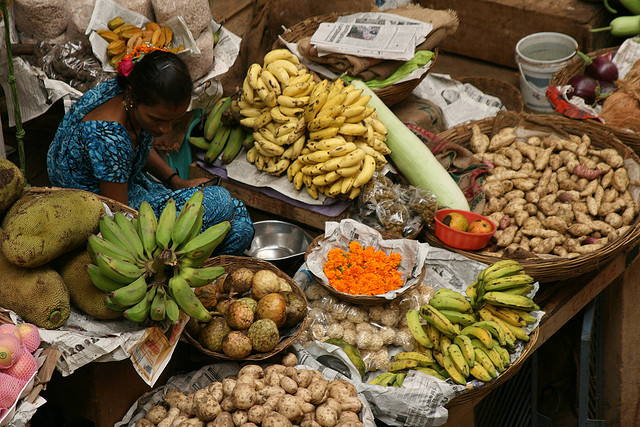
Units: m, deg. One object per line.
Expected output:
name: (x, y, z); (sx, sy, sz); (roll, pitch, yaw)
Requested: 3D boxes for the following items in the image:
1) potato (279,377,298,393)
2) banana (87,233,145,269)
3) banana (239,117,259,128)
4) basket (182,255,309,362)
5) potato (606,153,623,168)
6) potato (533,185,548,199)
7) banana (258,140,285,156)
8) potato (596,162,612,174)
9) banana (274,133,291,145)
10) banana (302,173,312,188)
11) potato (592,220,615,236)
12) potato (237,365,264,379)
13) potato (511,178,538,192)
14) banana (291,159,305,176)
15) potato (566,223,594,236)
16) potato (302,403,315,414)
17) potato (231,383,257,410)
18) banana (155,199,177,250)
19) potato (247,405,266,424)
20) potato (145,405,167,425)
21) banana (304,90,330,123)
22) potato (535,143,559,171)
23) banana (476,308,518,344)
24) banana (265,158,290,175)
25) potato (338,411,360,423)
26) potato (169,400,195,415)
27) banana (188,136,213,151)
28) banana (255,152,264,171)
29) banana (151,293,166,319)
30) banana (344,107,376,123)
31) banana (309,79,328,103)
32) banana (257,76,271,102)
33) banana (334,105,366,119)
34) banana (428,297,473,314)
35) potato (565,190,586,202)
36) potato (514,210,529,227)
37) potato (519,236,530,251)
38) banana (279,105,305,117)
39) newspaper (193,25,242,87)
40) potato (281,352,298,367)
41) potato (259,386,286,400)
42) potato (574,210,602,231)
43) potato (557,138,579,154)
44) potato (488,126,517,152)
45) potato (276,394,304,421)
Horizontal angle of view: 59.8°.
potato: (-0.177, 0.965, 3.123); (0.091, 0.057, 0.053); (29, 95, 12)
banana: (-1.072, 0.203, 2.932); (0.196, 0.056, 0.073); (34, 32, -20)
banana: (-0.568, -0.713, 4.462); (0.162, 0.060, 0.058); (-8, 40, 21)
basket: (-0.420, 0.440, 3.366); (0.611, 0.643, 0.193); (21, 92, 13)
potato: (2.309, -0.413, 4.375); (0.078, 0.064, 0.113); (-15, 49, -17)
potato: (1.741, -0.170, 4.376); (0.092, 0.052, 0.095); (30, 90, 15)
banana: (-0.381, -0.502, 4.336); (0.171, 0.104, 0.064); (15, 13, 7)
potato: (2.226, -0.359, 4.366); (0.077, 0.026, 0.085); (-9, 44, 2)
banana: (-0.291, -0.565, 4.283); (0.066, 0.108, 0.037); (62, 24, 3)
banana: (-0.089, -0.254, 4.265); (0.039, 0.045, 0.144); (-10, 49, -2)
potato: (2.085, 0.104, 4.101); (0.148, 0.056, 0.074); (33, 16, 34)
potato: (-0.395, 0.914, 3.236); (0.095, 0.081, 0.063); (-3, 86, 12)
potato: (1.609, -0.223, 4.410); (0.154, 0.061, 0.082); (20, 9, 12)
banana: (-0.181, -0.347, 4.351); (0.048, 0.167, 0.053); (36, 19, 0)
potato: (1.905, 0.122, 4.074); (0.137, 0.053, 0.082); (6, 84, 23)
potato: (-0.067, 1.078, 3.072); (0.040, 0.055, 0.034); (-12, 71, 37)
potato: (-0.415, 0.999, 3.032); (0.120, 0.069, 0.134); (7, 79, -17)
banana: (-0.837, 0.066, 3.085); (0.078, 0.093, 0.283); (15, 67, -4)
potato: (-0.342, 1.086, 3.011); (0.068, 0.093, 0.079); (-7, 91, -9)
potato: (-0.935, 1.152, 3.183); (0.083, 0.052, 0.109); (34, 72, 11)
banana: (-0.033, -0.796, 4.229); (0.094, 0.098, 0.306); (36, 87, 38)
potato: (1.832, -0.438, 4.519); (0.063, 0.075, 0.283); (39, 75, -15)
banana: (1.114, 0.713, 3.467); (0.058, 0.045, 0.225); (-34, 69, -7)
banana: (-0.327, -0.363, 4.387); (0.105, 0.036, 0.070); (-36, 38, -9)
potato: (0.157, 1.120, 3.070); (0.111, 0.038, 0.067); (4, 46, -10)
potato: (-0.775, 1.100, 3.162); (0.154, 0.047, 0.055); (2, 30, 39)
banana: (-1.000, -0.576, 4.634); (0.172, 0.064, 0.110); (0, 72, -4)
banana: (-0.494, -0.407, 4.457); (0.040, 0.046, 0.161); (-3, 59, -1)
banana: (-0.860, 0.500, 2.958); (0.054, 0.049, 0.130); (3, 60, -15)
banana: (0.290, -0.742, 4.216); (0.177, 0.063, 0.051); (-29, 23, 2)
banana: (0.002, -0.964, 4.377); (0.065, 0.084, 0.261); (27, 63, 12)
banana: (-0.452, -0.977, 4.405); (0.061, 0.074, 0.237); (-22, 58, 3)
banana: (0.219, -0.754, 4.166); (0.174, 0.052, 0.062); (-10, 57, 2)
banana: (0.832, 0.582, 3.516); (0.295, 0.104, 0.118); (9, 9, 4)
potato: (1.976, -0.131, 4.287); (0.119, 0.038, 0.067); (40, 59, 18)
potato: (1.541, 0.052, 4.243); (0.083, 0.063, 0.123); (14, 82, -5)
potato: (1.524, 0.223, 4.136); (0.091, 0.037, 0.106); (7, 72, 20)
banana: (-0.227, -0.787, 4.354); (0.231, 0.081, 0.093); (4, 60, -5)
newspaper: (-0.824, -1.356, 4.789); (0.180, 0.451, 0.473); (34, 34, -32)
potato: (-0.179, 0.885, 3.346); (0.060, 0.046, 0.077); (-6, 25, -15)
potato: (-0.277, 0.994, 3.110); (0.120, 0.077, 0.066); (-4, 30, -2)
potato: (1.986, 0.039, 4.163); (0.069, 0.078, 0.235); (-42, 47, -6)
potato: (2.033, -0.547, 4.577); (0.059, 0.067, 0.179); (-39, 52, -11)
potato: (1.564, -0.642, 4.733); (0.266, 0.089, 0.147); (-43, 23, -9)
potato: (-0.166, 1.047, 3.055); (0.136, 0.110, 0.105); (36, 67, 6)
